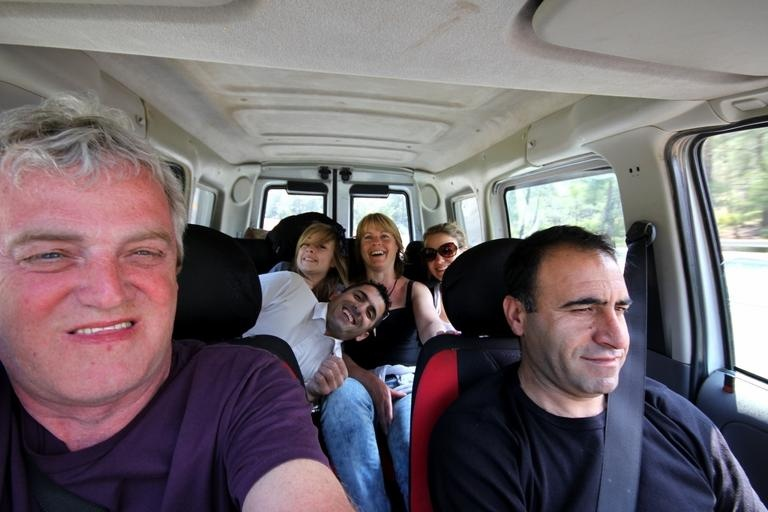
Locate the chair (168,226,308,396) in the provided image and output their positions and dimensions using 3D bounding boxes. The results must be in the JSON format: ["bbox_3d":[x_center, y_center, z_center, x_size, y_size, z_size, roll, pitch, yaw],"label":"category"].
[{"bbox_3d":[-0.895,0.132,2.656,0.521,0.649,0.591,1,14,-3],"label":"chair"}]
